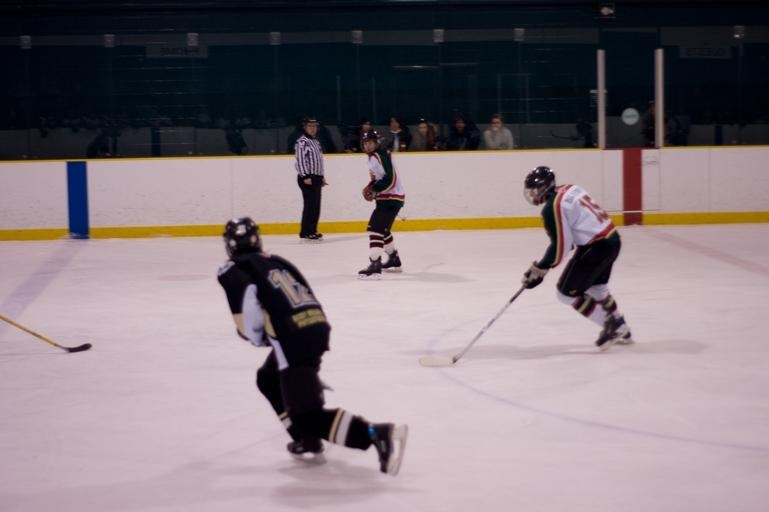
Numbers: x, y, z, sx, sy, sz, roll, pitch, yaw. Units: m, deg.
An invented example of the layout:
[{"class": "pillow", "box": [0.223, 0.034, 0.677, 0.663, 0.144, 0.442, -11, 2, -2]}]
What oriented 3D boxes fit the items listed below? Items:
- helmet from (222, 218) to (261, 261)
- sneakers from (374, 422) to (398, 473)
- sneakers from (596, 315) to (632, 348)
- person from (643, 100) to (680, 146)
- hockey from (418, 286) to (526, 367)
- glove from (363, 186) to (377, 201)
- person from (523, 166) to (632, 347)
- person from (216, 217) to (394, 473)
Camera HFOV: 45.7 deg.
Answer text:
[{"class": "helmet", "box": [-0.991, -0.113, 6.250, 0.296, 0.294, 0.351, -8, -2, -7]}, {"class": "sneakers", "box": [-0.008, 1.247, 5.891, 0.153, 0.345, 0.165, -1, 10, -3]}, {"class": "sneakers", "box": [1.886, 0.616, 7.490, 0.320, 0.272, 0.097, -3, 11, -17]}, {"class": "person", "box": [4.202, -2.020, 13.839, 0.595, 0.691, 0.173, -2, 11, -10]}, {"class": "hockey", "box": [0.769, 0.644, 8.046, 0.845, 0.130, 0.222, -34, 33, -9]}, {"class": "glove", "box": [-0.164, -0.717, 10.412, 0.048, 0.135, 0.158, -5, 4, -37]}, {"class": "person", "box": [1.607, -0.004, 7.574, 0.903, 1.459, 0.506, 1, 11, 11]}, {"class": "person", "box": [-0.521, 0.590, 6.000, 1.230, 1.645, 0.328, 4, 11, 23]}]
